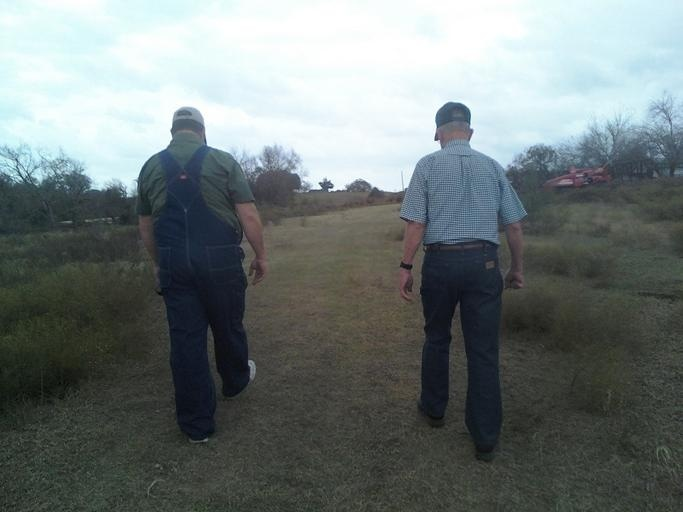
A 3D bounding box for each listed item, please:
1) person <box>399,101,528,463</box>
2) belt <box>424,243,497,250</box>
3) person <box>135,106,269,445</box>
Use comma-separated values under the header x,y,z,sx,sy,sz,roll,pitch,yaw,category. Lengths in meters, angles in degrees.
x,y,z,sx,sy,sz,roll,pitch,yaw,category
1.003,0.147,4.511,0.914,2.780,0.807,7,15,33,person
0.991,-0.077,4.392,0.562,0.070,0.098,1,15,7,belt
-1.203,0.096,4.776,0.942,2.750,0.925,-11,16,-35,person
